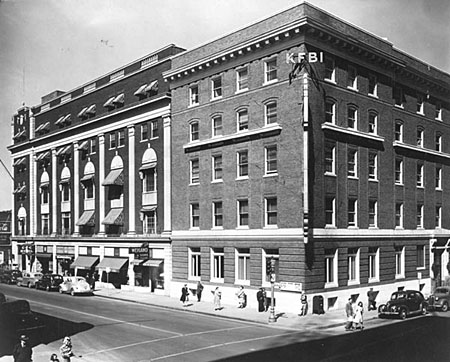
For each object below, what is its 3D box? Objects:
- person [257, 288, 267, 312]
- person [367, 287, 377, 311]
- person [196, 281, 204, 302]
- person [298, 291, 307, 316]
[{"bbox_3d":[3.283,10.215,68.852,0.656,1.935,1.186,4,8,43],"label":"person"},{"bbox_3d":[12.994,10.210,69.177,0.767,1.806,1.555,0,6,10],"label":"person"},{"bbox_3d":[-2.329,10.288,74.248,0.609,1.798,0.906,-2,6,-2],"label":"person"},{"bbox_3d":[6.722,10.282,66.939,0.550,1.911,0.894,3,7,34],"label":"person"}]
